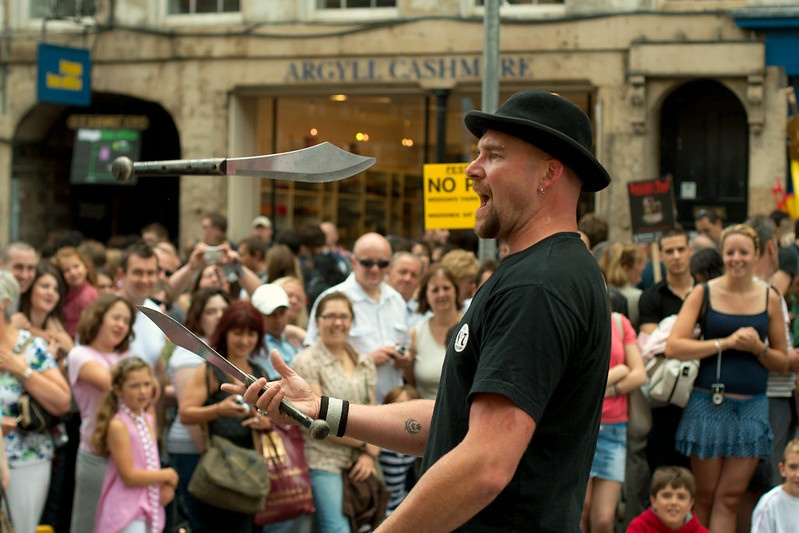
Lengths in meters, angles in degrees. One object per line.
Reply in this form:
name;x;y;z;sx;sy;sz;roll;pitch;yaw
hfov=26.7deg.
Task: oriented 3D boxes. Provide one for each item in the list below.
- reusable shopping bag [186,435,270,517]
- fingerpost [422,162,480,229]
reusable shopping bag;-1.402;1.651;13.674;0.465;0.692;0.558;-3;10;-32
fingerpost;0.493;-0.660;16.206;0.717;0.843;0.039;-2;-19;5
